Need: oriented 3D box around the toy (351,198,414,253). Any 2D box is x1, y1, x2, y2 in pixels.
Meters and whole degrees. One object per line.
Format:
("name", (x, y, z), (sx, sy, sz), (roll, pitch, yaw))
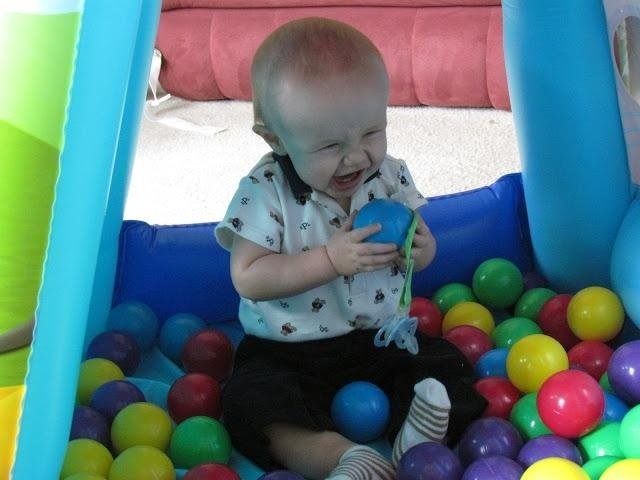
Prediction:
("toy", (0.111, -0.026, 1.022), (0.081, 0.102, 0.090), (23, 43, 23))
